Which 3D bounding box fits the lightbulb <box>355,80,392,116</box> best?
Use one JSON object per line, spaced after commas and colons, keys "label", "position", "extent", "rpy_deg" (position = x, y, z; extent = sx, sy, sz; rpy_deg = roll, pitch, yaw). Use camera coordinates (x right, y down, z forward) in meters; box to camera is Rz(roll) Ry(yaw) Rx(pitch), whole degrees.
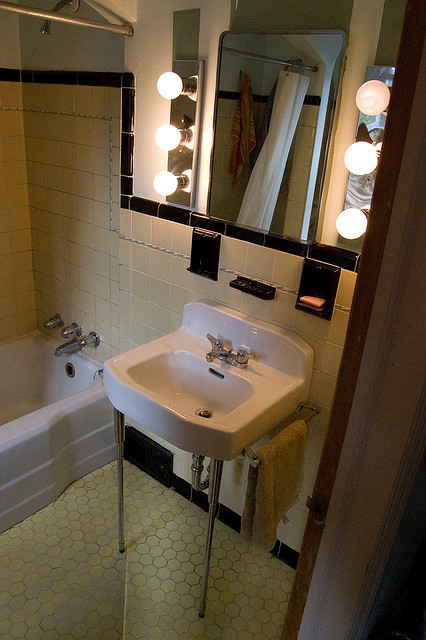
{"label": "lightbulb", "position": [0.440, -0.613, 1.250], "extent": [0.086, 0.091, 0.073], "rpy_deg": [13, 20, 9]}

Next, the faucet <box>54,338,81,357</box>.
{"label": "faucet", "position": [-0.799, 0.150, 2.483], "extent": [0.133, 0.042, 0.077], "rpy_deg": [-22, 30, -40]}

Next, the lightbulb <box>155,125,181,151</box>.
{"label": "lightbulb", "position": [-0.170, -0.683, 1.700], "extent": [0.078, 0.108, 0.080], "rpy_deg": [-5, 12, -38]}

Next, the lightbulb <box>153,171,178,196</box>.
{"label": "lightbulb", "position": [-0.186, -0.537, 1.787], "extent": [0.079, 0.110, 0.083], "rpy_deg": [10, 7, 34]}

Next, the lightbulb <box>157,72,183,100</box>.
{"label": "lightbulb", "position": [-0.154, -0.832, 1.665], "extent": [0.081, 0.112, 0.082], "rpy_deg": [8, 11, 43]}

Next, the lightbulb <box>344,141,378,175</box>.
{"label": "lightbulb", "position": [0.426, -0.458, 1.295], "extent": [0.091, 0.085, 0.066], "rpy_deg": [8, 20, -4]}

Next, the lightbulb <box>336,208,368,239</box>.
{"label": "lightbulb", "position": [0.420, -0.290, 1.387], "extent": [0.085, 0.096, 0.079], "rpy_deg": [14, 21, 14]}

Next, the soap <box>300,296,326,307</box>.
{"label": "soap", "position": [0.338, -0.064, 1.508], "extent": [0.035, 0.013, 0.050], "rpy_deg": [-27, 34, -31]}

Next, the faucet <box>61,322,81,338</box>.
{"label": "faucet", "position": [-0.798, 0.062, 2.550], "extent": [0.095, 0.108, 0.078], "rpy_deg": [-13, 0, -44]}

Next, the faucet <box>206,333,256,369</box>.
{"label": "faucet", "position": [0.058, 0.070, 1.675], "extent": [0.194, 0.079, 0.109], "rpy_deg": [28, 29, 30]}

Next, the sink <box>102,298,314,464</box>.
{"label": "sink", "position": [-0.023, 0.188, 1.626], "extent": [0.649, 0.366, 0.558], "rpy_deg": [24, 25, 31]}
